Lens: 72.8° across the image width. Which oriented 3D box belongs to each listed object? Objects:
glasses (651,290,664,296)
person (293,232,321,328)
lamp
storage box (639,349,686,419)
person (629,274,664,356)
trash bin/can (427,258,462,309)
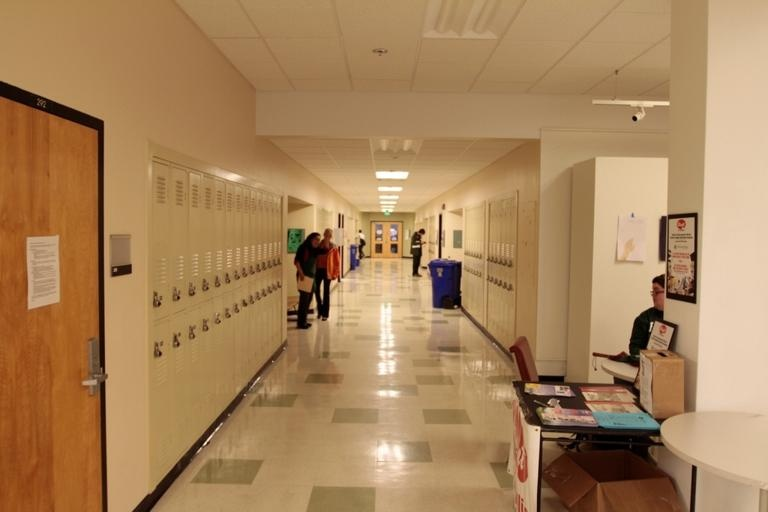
[{"bbox_3d":[2.484,0.332,4.701,0.096,0.072,0.048,8,12,40],"label":"glasses"},{"bbox_3d":[-1.367,0.446,9.131,0.416,1.688,0.683,-1,9,-2],"label":"person"},{"bbox_3d":[2.857,-1.815,5.981,0.689,0.539,1.492,4,11,26],"label":"lamp"},{"bbox_3d":[2.054,0.945,3.813,0.313,0.443,0.257,5,10,28],"label":"storage box"},{"bbox_3d":[2.384,0.564,4.689,0.246,0.761,0.756,4,10,27],"label":"person"},{"bbox_3d":[1.486,0.622,11.759,0.919,1.396,0.939,-2,4,2],"label":"trash bin/can"}]
